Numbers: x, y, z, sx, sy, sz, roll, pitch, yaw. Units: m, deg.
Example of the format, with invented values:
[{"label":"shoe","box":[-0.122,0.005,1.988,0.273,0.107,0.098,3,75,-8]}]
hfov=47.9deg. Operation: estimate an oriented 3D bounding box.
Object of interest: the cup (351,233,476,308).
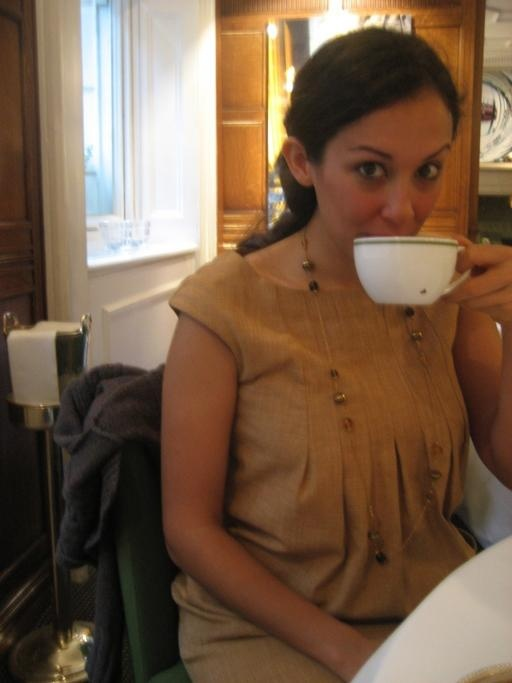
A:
[{"label":"cup","box":[0.160,-0.064,0.601,0.078,0.055,0.074,2,6,0]}]
